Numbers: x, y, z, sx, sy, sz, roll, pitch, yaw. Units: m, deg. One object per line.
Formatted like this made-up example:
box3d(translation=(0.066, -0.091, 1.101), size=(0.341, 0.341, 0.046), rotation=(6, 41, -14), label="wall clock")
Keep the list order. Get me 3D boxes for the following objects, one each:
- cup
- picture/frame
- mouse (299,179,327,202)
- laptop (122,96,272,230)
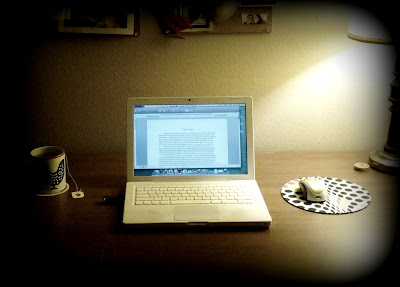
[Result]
box3d(translation=(-0.554, 0.094, 1.125), size=(0.121, 0.150, 0.160), rotation=(-10, 17, -41), label="cup")
box3d(translation=(-0.420, -0.493, 1.284), size=(0.335, 0.089, 0.028), rotation=(0, 14, -6), label="picture/frame")
box3d(translation=(0.392, 0.156, 1.054), size=(0.050, 0.034, 0.097), rotation=(-1, 17, 3), label="mouse")
box3d(translation=(-0.030, 0.057, 1.086), size=(0.517, 0.343, 0.425), rotation=(0, 20, -3), label="laptop")
